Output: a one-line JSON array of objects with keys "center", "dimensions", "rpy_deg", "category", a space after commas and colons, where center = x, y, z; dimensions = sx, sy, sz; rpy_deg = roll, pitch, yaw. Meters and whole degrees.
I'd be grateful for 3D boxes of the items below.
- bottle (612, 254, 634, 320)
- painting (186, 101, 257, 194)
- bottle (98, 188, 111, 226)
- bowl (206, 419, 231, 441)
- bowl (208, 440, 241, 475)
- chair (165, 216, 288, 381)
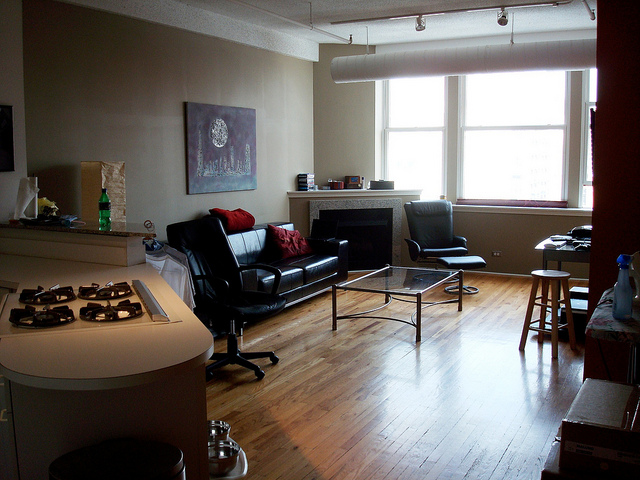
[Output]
[{"center": [1.705, 0.256, 2.699], "dimensions": [0.096, 0.323, 0.264], "rpy_deg": [6, 12, 32], "category": "bottle"}, {"center": [-1.310, -1.208, 6.217], "dimensions": [0.059, 1.325, 1.240], "rpy_deg": [3, 4, 42], "category": "painting"}, {"center": [-1.690, -0.256, 3.766], "dimensions": [0.081, 0.246, 0.411], "rpy_deg": [-5, 11, -24], "category": "bottle"}, {"center": [-0.581, 1.077, 2.739], "dimensions": [0.113, 0.054, 0.210], "rpy_deg": [-4, 11, -17], "category": "bowl"}, {"center": [-0.517, 1.168, 2.639], "dimensions": [0.173, 0.098, 0.188], "rpy_deg": [0, 9, 0], "category": "bowl"}, {"center": [-0.860, 0.513, 4.516], "dimensions": [0.841, 1.383, 0.786], "rpy_deg": [1, 5, 34], "category": "chair"}]
